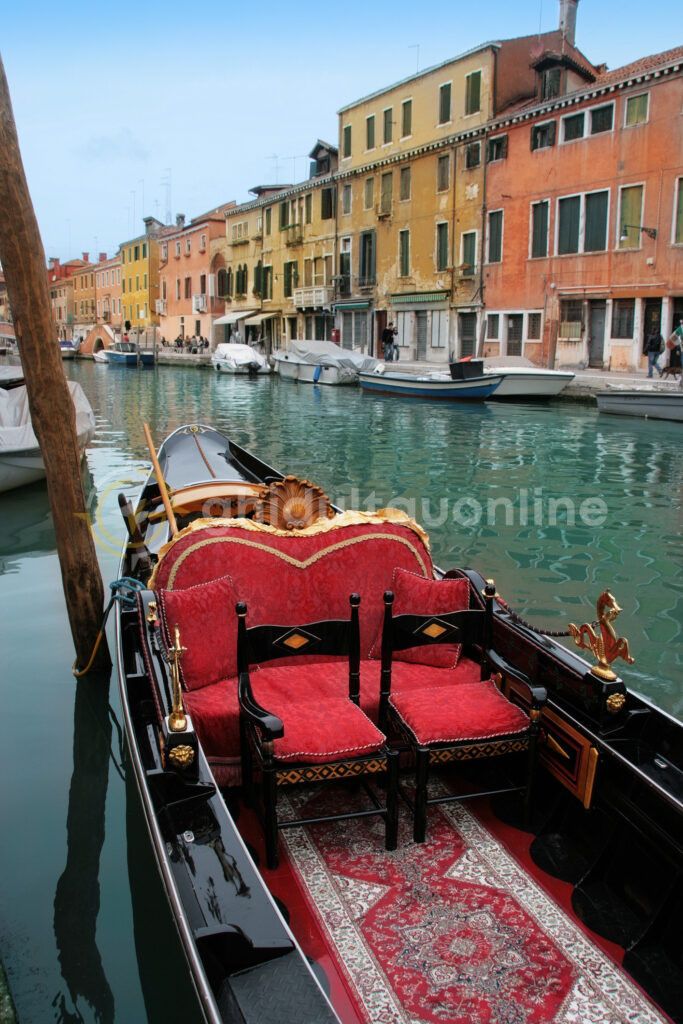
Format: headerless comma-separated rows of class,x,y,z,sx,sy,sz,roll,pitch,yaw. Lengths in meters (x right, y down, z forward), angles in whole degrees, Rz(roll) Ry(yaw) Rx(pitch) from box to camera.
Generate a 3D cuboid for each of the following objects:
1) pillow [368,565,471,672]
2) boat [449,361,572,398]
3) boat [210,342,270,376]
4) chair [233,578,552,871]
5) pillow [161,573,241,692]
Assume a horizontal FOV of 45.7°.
pillow,0.365,0.477,3.397,0.329,0.462,0.423,3,-2,25
boat,4.996,-3.928,23.802,3.015,1.410,1.386,7,22,23
boat,-5.139,-7.781,41.316,1.554,1.062,3.061,1,23,-15
chair,0.188,0.638,2.850,0.823,1.073,0.779,-2,4,-12
pillow,-0.523,0.450,3.106,0.311,0.492,0.145,-17,29,-29
